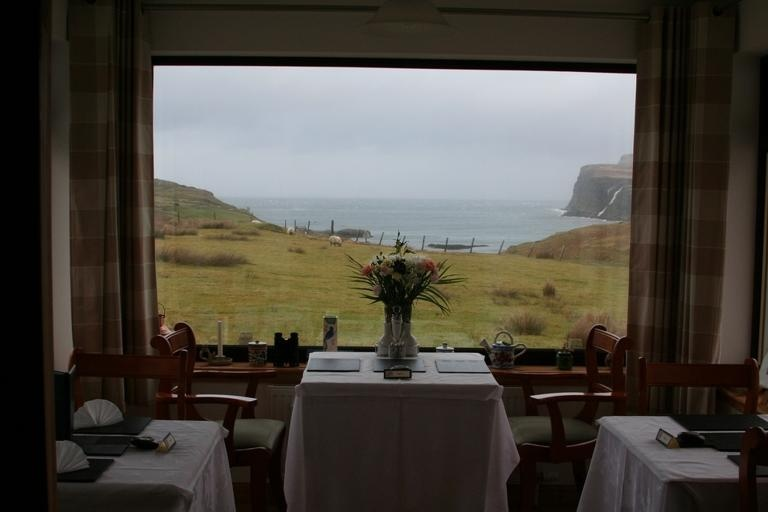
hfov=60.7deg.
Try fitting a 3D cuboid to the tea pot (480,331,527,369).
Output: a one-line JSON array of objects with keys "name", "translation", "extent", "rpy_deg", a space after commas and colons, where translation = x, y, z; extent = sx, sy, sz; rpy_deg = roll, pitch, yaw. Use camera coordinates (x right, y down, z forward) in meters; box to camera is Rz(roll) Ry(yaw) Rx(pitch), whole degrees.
[{"name": "tea pot", "translation": [0.828, 0.665, 4.652], "extent": [0.345, 0.264, 0.210], "rpy_deg": [1, 1, 3]}]

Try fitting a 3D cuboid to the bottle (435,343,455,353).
[{"name": "bottle", "translation": [0.425, 0.651, 4.615], "extent": [0.092, 0.059, 0.094], "rpy_deg": [0, -3, 0]}]

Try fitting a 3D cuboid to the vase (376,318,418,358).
[{"name": "vase", "translation": [0.085, 0.521, 4.262], "extent": [0.201, 0.236, 0.279], "rpy_deg": [1, 8, 4]}]

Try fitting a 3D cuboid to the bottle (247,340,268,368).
[{"name": "bottle", "translation": [-0.878, 0.682, 4.550], "extent": [0.142, 0.162, 0.145], "rpy_deg": [1, -3, -7]}]

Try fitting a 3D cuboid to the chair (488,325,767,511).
[{"name": "chair", "translation": [1.183, 1.095, 4.207], "extent": [0.886, 1.253, 1.111], "rpy_deg": [0, 3, -7]}]

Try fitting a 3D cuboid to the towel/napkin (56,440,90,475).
[{"name": "towel/napkin", "translation": [-1.407, 0.888, 2.962], "extent": [0.129, 0.136, 0.119], "rpy_deg": [-1, 4, -27]}]

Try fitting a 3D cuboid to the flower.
[{"name": "flower", "translation": [0.137, 0.151, 4.484], "extent": [0.628, 0.472, 0.655], "rpy_deg": [2, -4, 14]}]

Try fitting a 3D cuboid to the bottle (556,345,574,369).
[{"name": "bottle", "translation": [1.259, 0.729, 4.653], "extent": [0.122, 0.174, 0.125], "rpy_deg": [1, -5, 0]}]
